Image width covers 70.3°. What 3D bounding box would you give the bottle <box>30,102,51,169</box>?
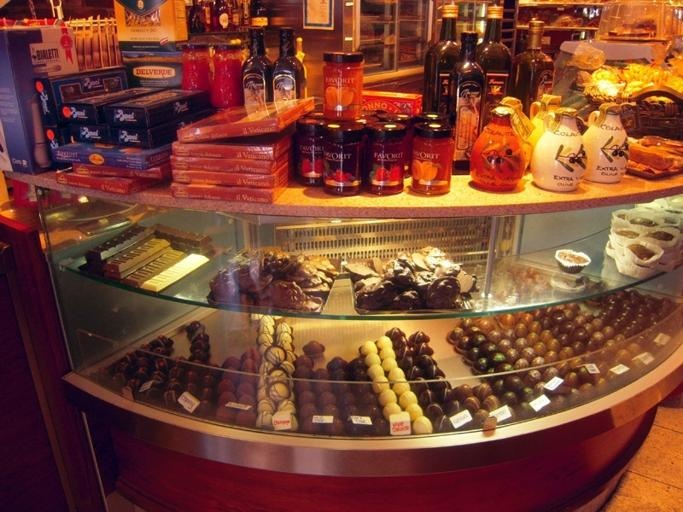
[{"bbox_3d":[-1.015,-0.400,1.623,0.050,0.229,0.017,-12,27,-28],"label":"bottle"}]

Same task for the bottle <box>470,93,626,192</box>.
[{"bbox_3d":[0.654,-0.351,1.564,0.381,0.196,0.125,0,29,3],"label":"bottle"}]

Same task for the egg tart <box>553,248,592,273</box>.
[{"bbox_3d":[0.844,0.018,1.760,0.155,0.068,0.070,-5,24,-14],"label":"egg tart"}]

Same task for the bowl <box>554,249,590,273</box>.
[{"bbox_3d":[0.845,0.018,1.760,0.155,0.068,0.070,-5,24,-14],"label":"bowl"}]

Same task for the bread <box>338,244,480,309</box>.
[{"bbox_3d":[0.228,0.078,1.597,0.306,0.084,0.218,-3,29,-4],"label":"bread"}]

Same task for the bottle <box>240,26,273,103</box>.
[{"bbox_3d":[-0.302,-0.672,1.722,0.111,0.250,0.221,-4,24,-10],"label":"bottle"}]
